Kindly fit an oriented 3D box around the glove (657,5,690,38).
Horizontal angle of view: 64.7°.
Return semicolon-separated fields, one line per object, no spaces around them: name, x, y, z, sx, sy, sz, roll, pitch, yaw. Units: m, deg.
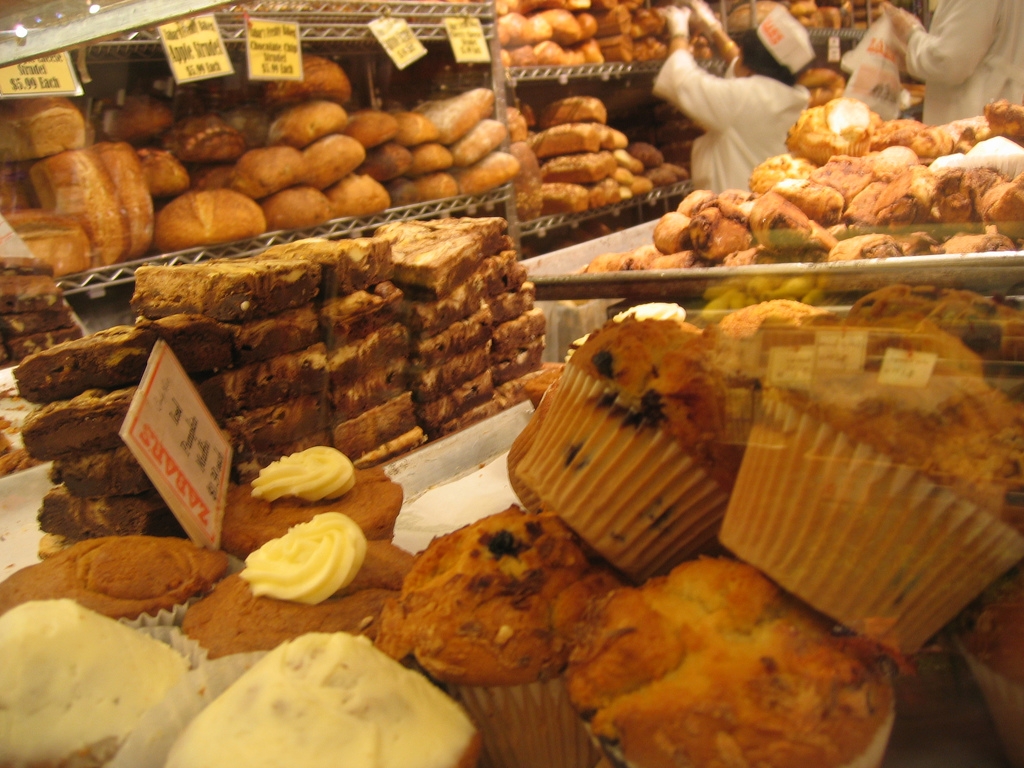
glove;0.414;-0.876;1.976;0.071;0.077;0.076;-27;30;-36

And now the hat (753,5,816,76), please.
hat;0.581;-0.722;1.720;0.058;0.118;0.093;-43;69;9
